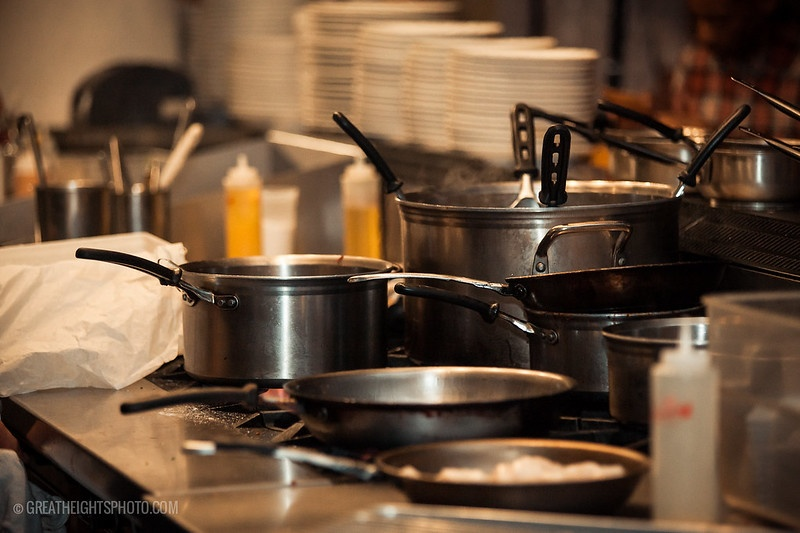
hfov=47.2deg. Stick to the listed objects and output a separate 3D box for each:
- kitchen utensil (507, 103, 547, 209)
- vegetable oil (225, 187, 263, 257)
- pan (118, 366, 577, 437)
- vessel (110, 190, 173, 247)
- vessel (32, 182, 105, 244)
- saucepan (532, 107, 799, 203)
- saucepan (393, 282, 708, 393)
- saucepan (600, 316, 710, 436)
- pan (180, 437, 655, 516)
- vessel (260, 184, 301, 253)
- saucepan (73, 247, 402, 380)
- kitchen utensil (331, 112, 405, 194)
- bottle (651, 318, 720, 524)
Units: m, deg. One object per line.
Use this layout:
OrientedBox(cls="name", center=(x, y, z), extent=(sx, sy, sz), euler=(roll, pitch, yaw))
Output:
OrientedBox(cls="kitchen utensil", center=(0.272, -0.234, 1.932), extent=(0.082, 0.232, 0.035), euler=(-3, -39, 1))
OrientedBox(cls="vegetable oil", center=(-0.470, -0.134, 2.746), extent=(0.102, 0.201, 0.092), euler=(-2, 1, -12))
OrientedBox(cls="pan", center=(0.010, 0.213, 1.438), extent=(0.431, 0.060, 0.256), euler=(-1, -1, -16))
OrientedBox(cls="vessel", center=(-0.732, -0.144, 2.587), extent=(0.148, 0.142, 0.145), euler=(15, 13, 26))
OrientedBox(cls="vessel", center=(-0.902, -0.147, 2.523), extent=(0.202, 0.162, 0.163), euler=(-1, 5, -8))
OrientedBox(cls="saucepan", center=(0.507, -0.204, 1.818), extent=(0.458, 0.156, 0.256), euler=(-5, 24, -3))
OrientedBox(cls="saucepan", center=(0.251, 0.119, 1.657), extent=(0.609, 0.207, 0.274), euler=(-3, 13, -17))
OrientedBox(cls="saucepan", center=(0.419, 0.175, 1.484), extent=(0.190, 0.127, 0.183), euler=(-1, 2, -1))
OrientedBox(cls="pan", center=(0.120, 0.289, 1.304), extent=(0.446, 0.058, 0.229), euler=(-1, -2, 8))
OrientedBox(cls="vessel", center=(-0.395, -0.149, 2.985), extent=(0.116, 0.217, 0.172), euler=(-2, 1, -8))
OrientedBox(cls="saucepan", center=(-0.303, 0.070, 1.762), extent=(0.520, 0.201, 0.295), euler=(-1, 2, -18))
OrientedBox(cls="kitchen utensil", center=(-0.061, -0.222, 1.969), extent=(0.129, 0.162, 0.358), euler=(-1, 1, 1))
OrientedBox(cls="bottle", center=(0.385, 0.217, 1.234), extent=(0.095, 0.251, 0.074), euler=(-1, 1, 7))
